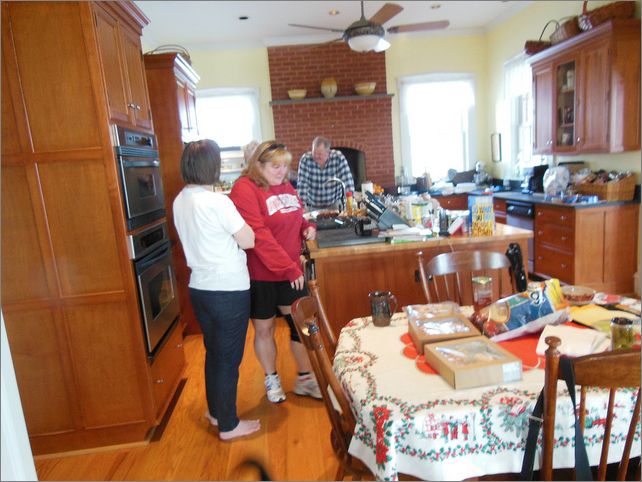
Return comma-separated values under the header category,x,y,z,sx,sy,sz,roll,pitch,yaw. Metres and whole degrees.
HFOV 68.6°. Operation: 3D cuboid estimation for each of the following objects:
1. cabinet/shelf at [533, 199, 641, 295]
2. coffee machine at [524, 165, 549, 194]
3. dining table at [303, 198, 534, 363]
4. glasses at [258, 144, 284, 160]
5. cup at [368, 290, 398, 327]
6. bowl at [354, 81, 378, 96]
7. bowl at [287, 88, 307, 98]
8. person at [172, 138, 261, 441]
category,x,y,z,sx,sy,sz,roll,pitch,yaw
cabinet/shelf,2.705,-0.064,4.953,0.802,1.316,0.894,-1,9,-5
coffee machine,2.547,-0.738,5.559,0.180,0.312,0.314,-9,10,-22
dining table,0.624,0.087,3.644,1.399,1.452,0.858,-3,11,-8
glasses,-0.301,-0.529,2.832,0.126,0.057,0.102,-29,38,14
cup,0.293,0.329,2.312,0.164,0.184,0.120,-1,4,1
bowl,0.615,-2.123,6.614,0.211,0.129,0.218,-5,17,2
bowl,-0.331,-2.066,6.585,0.268,0.180,0.210,-6,10,-2
person,-0.572,0.322,2.728,0.425,1.801,0.232,-8,10,-15
